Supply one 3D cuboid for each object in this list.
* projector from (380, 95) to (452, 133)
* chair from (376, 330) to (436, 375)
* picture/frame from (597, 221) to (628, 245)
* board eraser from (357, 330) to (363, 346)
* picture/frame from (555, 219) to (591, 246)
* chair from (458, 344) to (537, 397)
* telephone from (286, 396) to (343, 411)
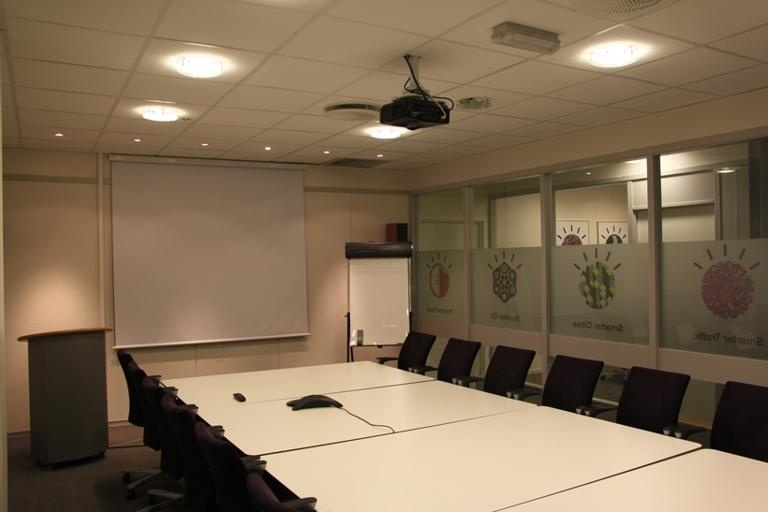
[{"bbox_3d":[0.292,-1.365,4.782,0.632,0.310,0.242,0,3,-7],"label":"projector"},{"bbox_3d":[0.349,1.345,7.330,0.581,0.877,0.632,17,-10,-34],"label":"chair"},{"bbox_3d":[2.980,-0.305,6.654,0.022,0.313,0.311,-2,4,-39],"label":"picture/frame"},{"bbox_3d":[-0.407,1.361,8.565,0.126,0.248,0.051,0,3,-3],"label":"board eraser"},{"bbox_3d":[2.636,-0.324,7.111,0.037,0.372,0.369,-1,5,-39],"label":"picture/frame"},{"bbox_3d":[1.434,1.338,6.122,0.629,0.845,0.613,20,-15,-36],"label":"chair"},{"bbox_3d":[-0.683,1.439,4.990,0.342,0.078,0.206,1,-6,-20],"label":"telephone"}]
